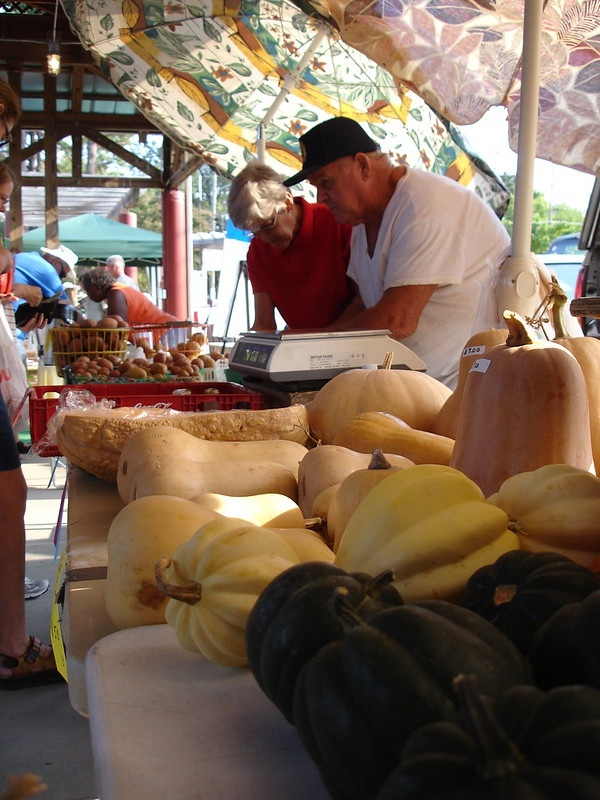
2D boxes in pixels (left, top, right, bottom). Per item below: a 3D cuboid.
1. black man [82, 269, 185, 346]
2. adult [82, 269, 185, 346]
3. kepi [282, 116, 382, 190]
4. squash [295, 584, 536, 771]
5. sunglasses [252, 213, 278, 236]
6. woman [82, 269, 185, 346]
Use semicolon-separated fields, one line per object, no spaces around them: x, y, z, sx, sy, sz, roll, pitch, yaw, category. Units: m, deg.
-1.883;-1.056;7.502;1.448;0.553;0.402;8;11;-44;black man
-1.895;-1.003;7.536;1.607;0.610;0.439;14;7;-46;adult
0.140;-1.098;2.928;0.372;0.168;0.252;-22;10;9;kepi
0.071;0.157;0.480;0.140;0.117;0.119;43;6;-1;squash
-0.192;-0.978;3.622;0.097;0.092;0.030;6;-33;51;sunglasses
-1.921;-1.014;7.526;0.472;0.636;1.626;20;4;38;woman
